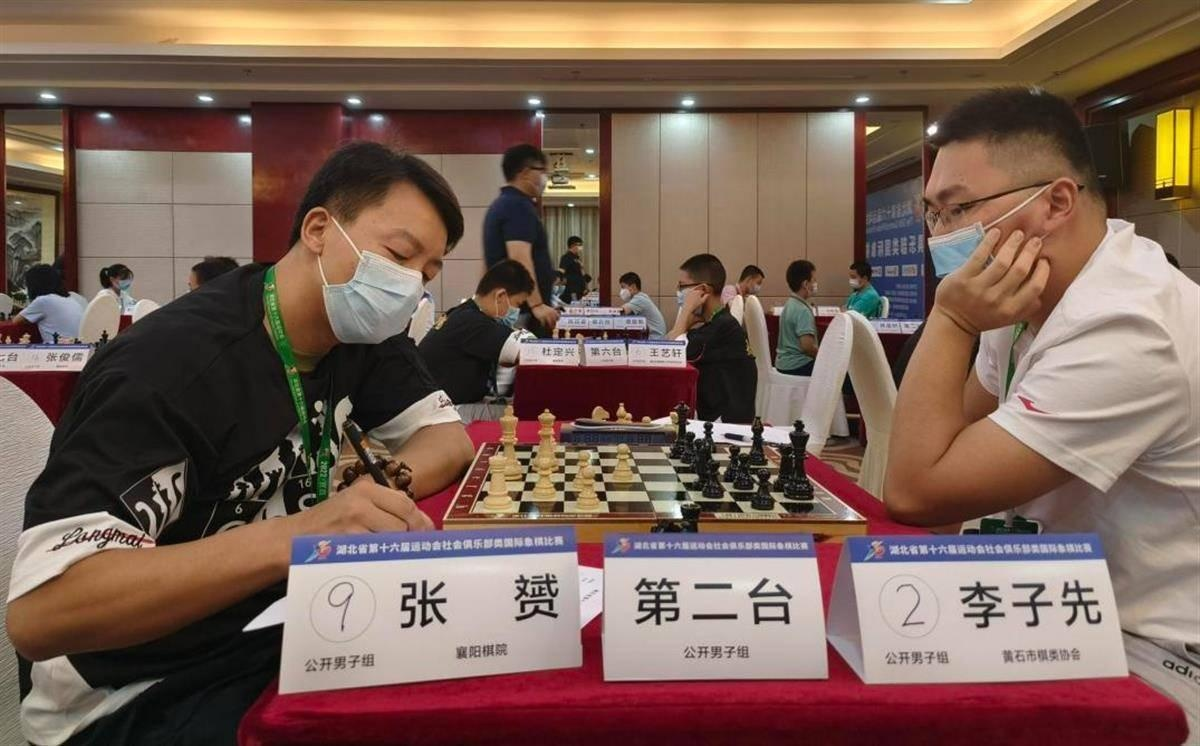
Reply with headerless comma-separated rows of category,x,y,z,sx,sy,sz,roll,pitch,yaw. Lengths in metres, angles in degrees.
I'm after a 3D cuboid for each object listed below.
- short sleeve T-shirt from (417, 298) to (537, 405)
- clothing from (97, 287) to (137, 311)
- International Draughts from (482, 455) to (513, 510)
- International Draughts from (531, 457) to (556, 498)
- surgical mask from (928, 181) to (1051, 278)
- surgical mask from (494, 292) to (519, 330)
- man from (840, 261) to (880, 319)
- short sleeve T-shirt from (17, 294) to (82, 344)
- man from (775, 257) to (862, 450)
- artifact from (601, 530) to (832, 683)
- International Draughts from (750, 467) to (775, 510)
short sleeve T-shirt,-0.542,-0.072,4.100,0.666,0.498,0.511,-1,8,17
clothing,-4.186,-0.641,7.548,0.403,0.177,0.389,-4,6,-24
International Draughts,-0.244,0.261,2.061,0.097,0.121,0.098,0,5,-4
International Draughts,-0.138,0.256,2.101,0.080,0.130,0.080,0,-4,-8
surgical mask,0.877,-0.301,1.990,0.192,0.066,0.183,-34,0,6
surgical mask,-0.493,-0.312,4.490,0.084,0.139,0.116,-20,4,12
man,2.536,-0.792,8.476,0.333,0.562,0.610,-5,16,6
short sleeve T-shirt,-4.046,-0.396,6.298,0.260,0.409,0.338,-6,26,-22
man,1.568,-0.176,6.454,0.663,1.283,0.597,-3,10,-7
artifact,0.195,0.404,1.624,0.406,0.233,0.232,2,13,-5
International Draughts,0.379,0.284,2.084,0.072,0.101,0.073,3,-12,-8
